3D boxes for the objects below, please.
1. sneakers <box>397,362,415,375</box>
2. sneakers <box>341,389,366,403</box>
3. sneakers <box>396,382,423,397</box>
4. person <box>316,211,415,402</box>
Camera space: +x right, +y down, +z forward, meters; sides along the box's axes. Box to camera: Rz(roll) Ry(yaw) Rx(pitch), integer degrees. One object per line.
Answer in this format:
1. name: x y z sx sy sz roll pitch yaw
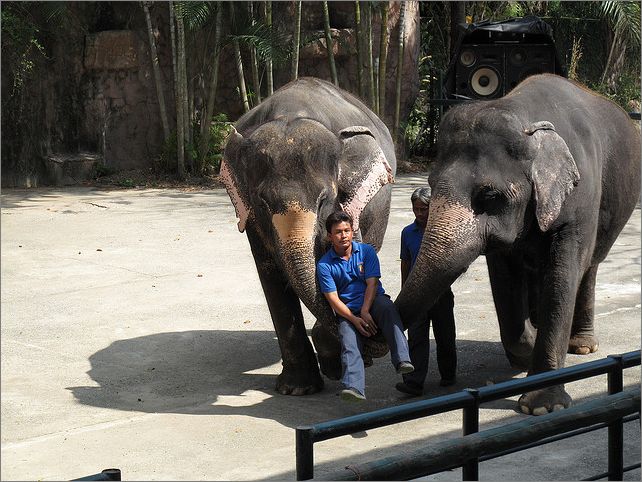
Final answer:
1. sneakers: 0.487 0.734 5.020 0.093 0.099 0.085 0 15 3
2. sneakers: 0.192 0.894 5.001 0.143 0.110 0.106 1 14 7
3. sneakers: 0.574 0.950 5.552 0.192 0.063 0.069 15 1 -11
4. person: 0.242 0.442 5.209 0.522 1.202 0.753 -2 15 -5
